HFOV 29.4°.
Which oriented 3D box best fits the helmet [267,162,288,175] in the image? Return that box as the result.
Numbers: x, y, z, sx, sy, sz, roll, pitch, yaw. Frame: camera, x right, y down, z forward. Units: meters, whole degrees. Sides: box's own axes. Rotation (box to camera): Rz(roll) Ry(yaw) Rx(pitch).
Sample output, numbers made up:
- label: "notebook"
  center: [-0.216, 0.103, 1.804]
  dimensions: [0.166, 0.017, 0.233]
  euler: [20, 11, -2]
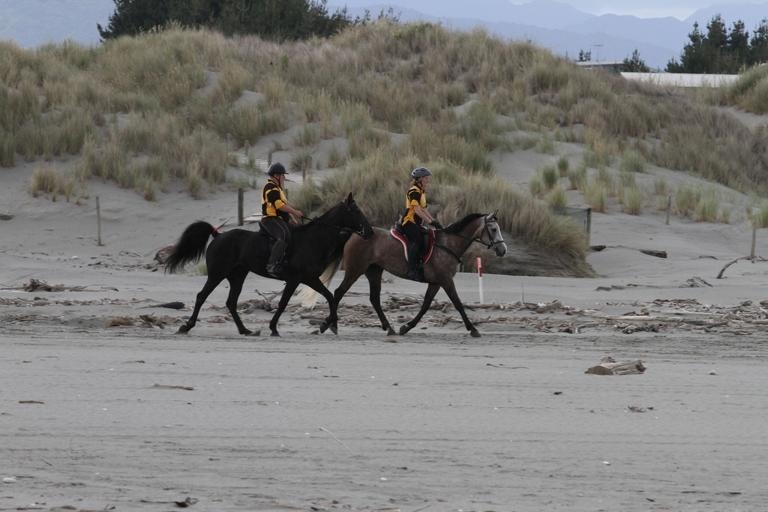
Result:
- label: "helmet"
  center: [-3.146, -2.549, 42.968]
  dimensions: [0.498, 0.306, 0.326]
  euler: [-7, 18, -9]

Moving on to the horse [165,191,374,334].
- label: "horse"
  center: [-3.456, 0.512, 43.342]
  dimensions: [6.839, 3.914, 1.547]
  euler: [-1, -6, 22]

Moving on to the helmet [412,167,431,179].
- label: "helmet"
  center: [1.049, -2.467, 43.609]
  dimensions: [0.507, 0.269, 0.338]
  euler: [8, 16, 5]

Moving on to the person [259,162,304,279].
- label: "person"
  center: [-3.124, -1.042, 42.853]
  dimensions: [0.983, 3.312, 0.762]
  euler: [5, 4, 1]
